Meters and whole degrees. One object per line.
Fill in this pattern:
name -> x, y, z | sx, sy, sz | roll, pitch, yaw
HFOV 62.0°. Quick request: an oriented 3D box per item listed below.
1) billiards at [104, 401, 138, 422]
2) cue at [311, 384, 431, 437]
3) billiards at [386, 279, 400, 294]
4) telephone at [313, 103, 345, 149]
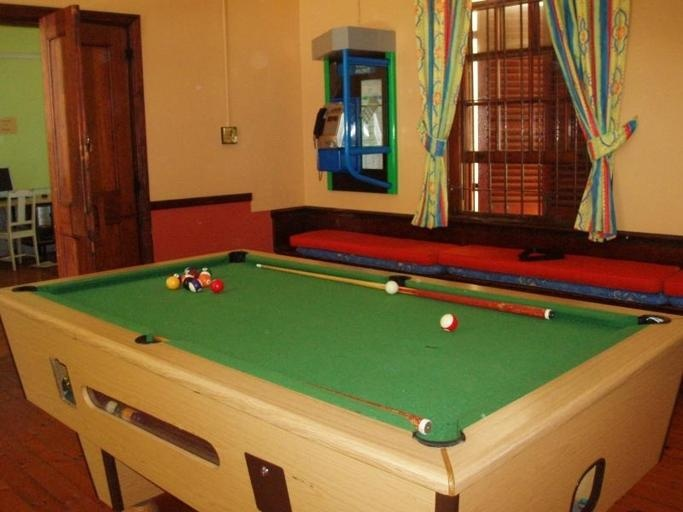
billiards -> -0.719, 0.503, 1.852 | 0.094, 0.020, 0.043 | 8, 20, 38
cue -> 0.072, 0.359, 1.404 | 0.099, 0.063, 0.407 | -13, 16, -42
billiards -> 0.214, 0.133, 2.419 | 0.057, 0.059, 0.053 | -12, 20, 5
telephone -> -0.094, -1.215, 5.261 | 0.240, 0.374, 0.427 | -15, 17, -36
